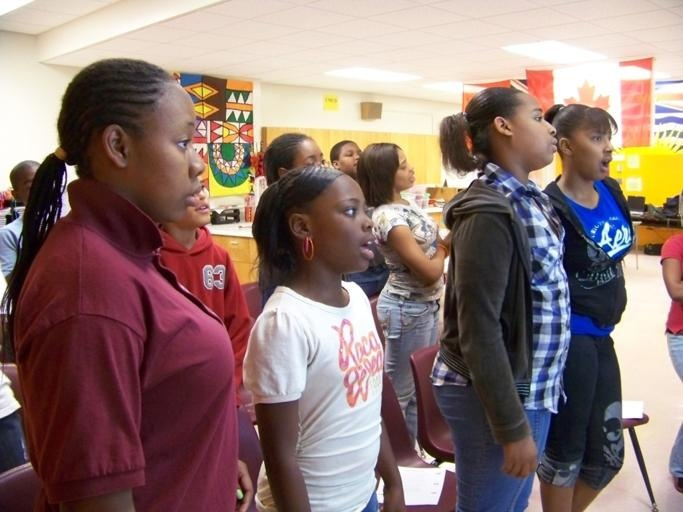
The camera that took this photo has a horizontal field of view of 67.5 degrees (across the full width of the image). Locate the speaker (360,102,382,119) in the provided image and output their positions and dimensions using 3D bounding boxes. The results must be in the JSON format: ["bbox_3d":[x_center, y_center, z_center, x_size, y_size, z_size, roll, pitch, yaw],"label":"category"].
[{"bbox_3d":[0.638,-2.975,10.506,0.498,0.371,0.247,-7,10,-34],"label":"speaker"}]

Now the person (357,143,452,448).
[{"bbox_3d":[0.441,0.272,2.761,0.513,1.726,0.528,-7,14,-9],"label":"person"}]

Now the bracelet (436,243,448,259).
[{"bbox_3d":[0.533,-0.026,2.675,0.051,0.072,0.041,18,15,41],"label":"bracelet"}]
